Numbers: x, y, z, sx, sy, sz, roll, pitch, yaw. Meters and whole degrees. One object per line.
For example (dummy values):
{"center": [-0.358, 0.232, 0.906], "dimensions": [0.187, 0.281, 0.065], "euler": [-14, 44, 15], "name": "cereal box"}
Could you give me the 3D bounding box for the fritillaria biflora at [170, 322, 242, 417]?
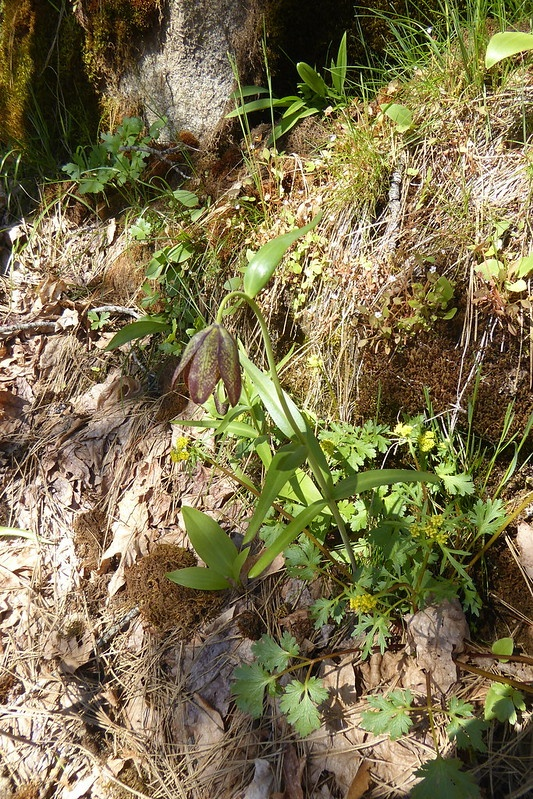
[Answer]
{"center": [-0.126, -0.093, 1.773], "dimensions": [0.206, 0.261, 0.214], "euler": [11, 11, 36], "name": "fritillaria biflora"}
